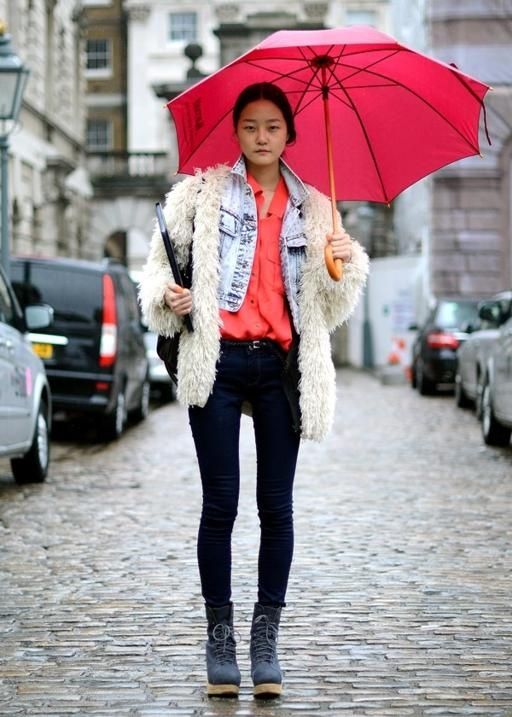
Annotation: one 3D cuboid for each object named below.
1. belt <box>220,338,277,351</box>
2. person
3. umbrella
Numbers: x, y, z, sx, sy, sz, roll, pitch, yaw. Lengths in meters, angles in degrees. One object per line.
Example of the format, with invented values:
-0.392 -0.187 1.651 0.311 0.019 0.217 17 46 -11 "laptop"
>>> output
-0.022 0.000 3.741 0.165 0.028 0.037 1 7 -5 "belt"
-0.017 0.106 3.868 0.629 1.733 0.486 -5 10 -43 "person"
0.260 -0.722 4.072 0.896 0.662 0.900 2 -36 -2 "umbrella"
